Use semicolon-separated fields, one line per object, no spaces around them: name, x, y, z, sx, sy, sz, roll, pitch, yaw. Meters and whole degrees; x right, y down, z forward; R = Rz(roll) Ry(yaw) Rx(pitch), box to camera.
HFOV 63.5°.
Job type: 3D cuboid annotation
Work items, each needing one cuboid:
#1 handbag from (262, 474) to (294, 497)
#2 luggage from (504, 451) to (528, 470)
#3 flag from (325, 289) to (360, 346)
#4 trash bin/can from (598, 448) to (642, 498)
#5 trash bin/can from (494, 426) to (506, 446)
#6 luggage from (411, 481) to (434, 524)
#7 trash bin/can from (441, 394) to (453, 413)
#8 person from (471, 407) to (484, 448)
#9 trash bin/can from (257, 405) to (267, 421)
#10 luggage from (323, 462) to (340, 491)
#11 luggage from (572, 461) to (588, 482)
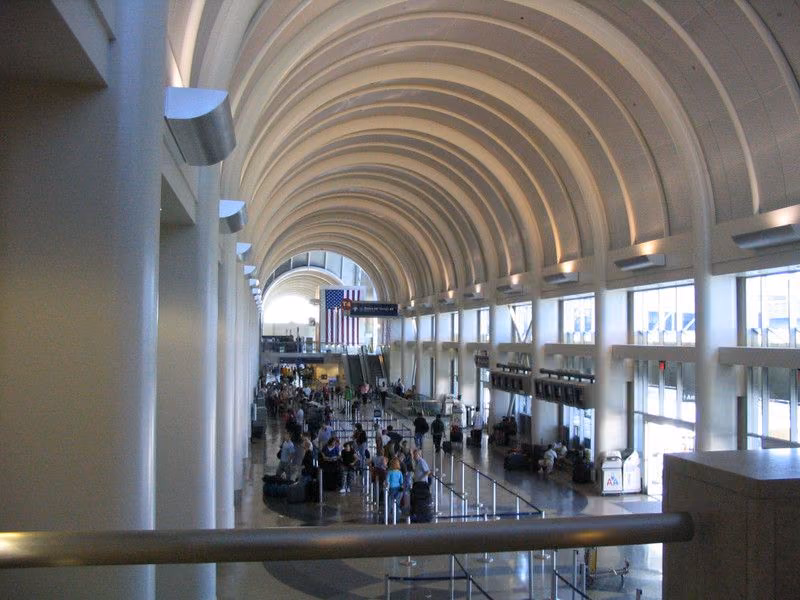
handbag;-3.264;4.820;16.773;0.553;0.616;0.620;1;-2;11
luggage;4.056;5.654;22.920;0.536;0.599;0.585;-1;-2;1
flag;-5.202;1.522;57.212;3.195;5.299;3.258;-1;3;-6
trash bin/can;6.580;5.167;19.219;1.246;1.620;0.996;2;-6;-1
trash bin/can;4.366;6.032;28.467;0.532;0.826;0.560;0;-11;-4
luggage;0.489;4.254;13.802;0.507;0.917;0.543;-3;-26;5
trash bin/can;2.638;6.021;36.957;0.629;1.161;1.080;2;1;-2
person;3.291;5.428;27.743;0.396;1.753;1.270;0;3;5
trash bin/can;-6.918;5.657;32.101;0.495;0.884;0.973;1;-5;-2
luggage;-1.854;4.735;17.450;0.488;0.749;0.205;-1;2;-10
luggage;5.675;5.394;20.389;0.335;0.663;0.642;3;-7;-10
